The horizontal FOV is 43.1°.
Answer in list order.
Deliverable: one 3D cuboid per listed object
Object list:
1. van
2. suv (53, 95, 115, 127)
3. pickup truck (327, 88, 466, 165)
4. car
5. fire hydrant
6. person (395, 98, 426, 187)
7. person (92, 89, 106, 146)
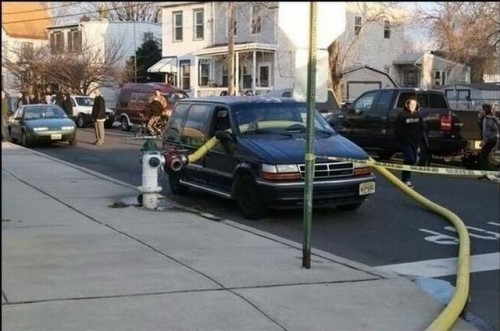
[{"bbox_3d":[-4.720,-2.944,31.825,4.470,2.605,2.409,6,8,43],"label":"van"},{"bbox_3d":[-9.293,-3.067,35.494,2.204,2.068,4.579,-2,5,-40],"label":"suv"},{"bbox_3d":[4.636,-1.183,19.384,2.775,2.364,5.706,1,5,-33],"label":"pickup truck"},{"bbox_3d":[-7.932,-1.552,23.873,2.244,1.817,5.199,0,-1,-32],"label":"car"},{"bbox_3d":[-2.016,0.209,12.896,0.503,1.197,0.553,2,5,-12],"label":"fire hydrant"},{"bbox_3d":[4.005,-0.642,15.803,0.818,2.221,0.564,-4,9,-33],"label":"person"},{"bbox_3d":[-5.769,-1.845,24.159,0.474,2.021,0.919,-1,13,-14],"label":"person"}]
